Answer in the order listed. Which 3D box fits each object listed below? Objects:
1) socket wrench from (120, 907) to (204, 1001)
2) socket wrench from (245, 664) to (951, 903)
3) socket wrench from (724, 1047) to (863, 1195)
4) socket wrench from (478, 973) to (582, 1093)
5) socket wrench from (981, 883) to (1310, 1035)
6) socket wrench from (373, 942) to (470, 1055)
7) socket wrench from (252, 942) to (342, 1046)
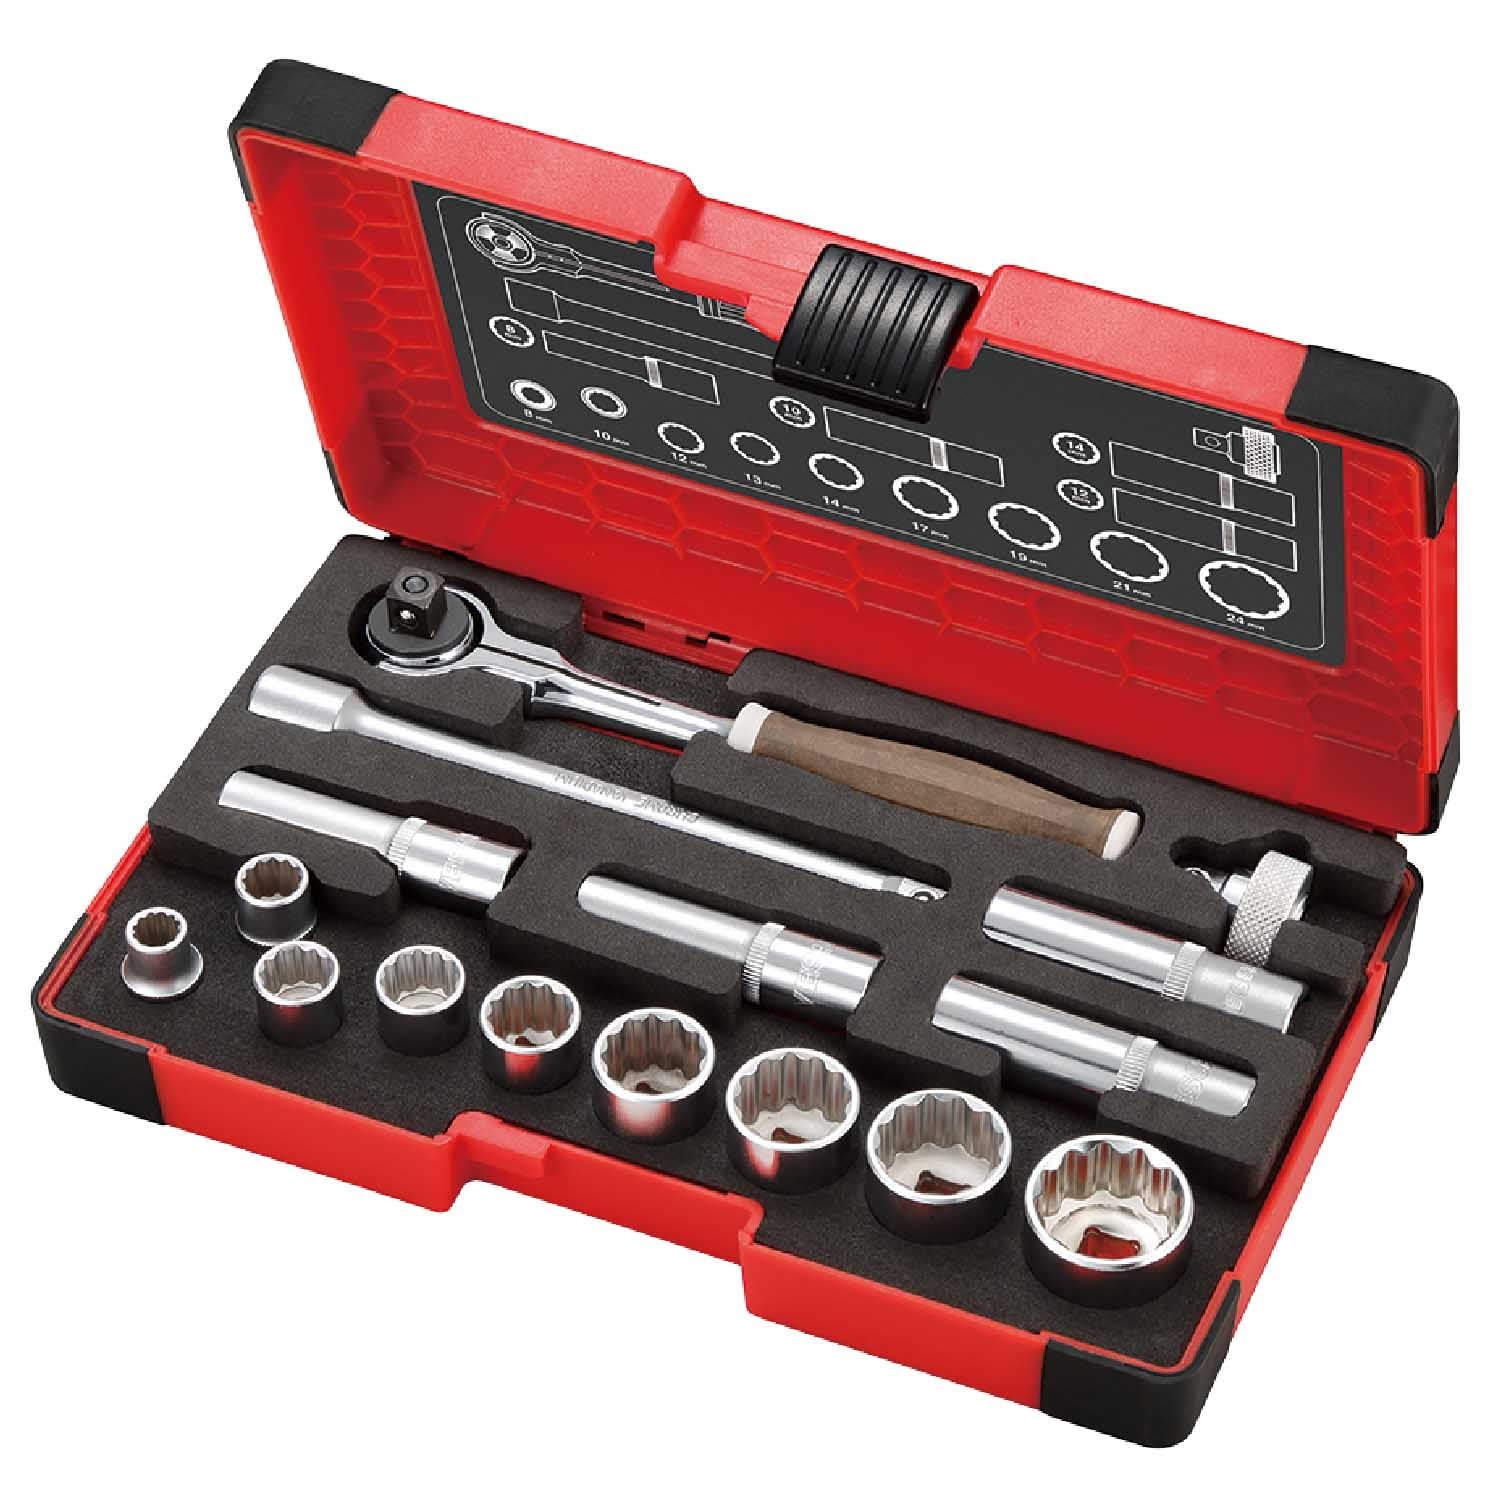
[{"bbox_3d":[-1.243,0.439,3.706,0.209,0.177,0.172,-5,-40,-12],"label":"socket wrench"},{"bbox_3d":[-0.349,0.090,3.940,1.308,0.154,0.218,15,-48,12],"label":"socket wrench"},{"bbox_3d":[0.089,0.723,3.381,0.229,0.267,0.227,4,-54,17],"label":"socket wrench"},{"bbox_3d":[-0.447,0.576,3.528,0.186,0.215,0.194,7,-54,14],"label":"socket wrench"},{"bbox_3d":[0.832,0.446,3.582,0.588,0.138,0.124,20,-86,12],"label":"socket wrench"},{"bbox_3d":[-0.678,0.515,3.609,0.188,0.228,0.157,13,-53,10],"label":"socket wrench"},{"bbox_3d":[-0.947,0.505,3.603,0.167,0.171,0.116,37,-43,32],"label":"socket wrench"}]
